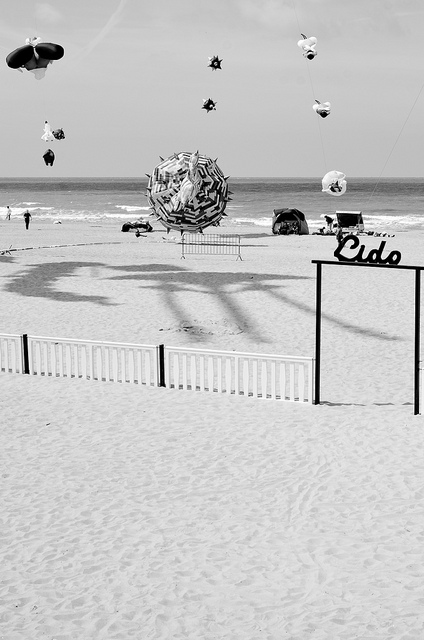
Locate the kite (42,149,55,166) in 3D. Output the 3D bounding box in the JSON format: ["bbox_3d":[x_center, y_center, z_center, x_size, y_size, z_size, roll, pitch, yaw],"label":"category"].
[{"bbox_3d":[-4.953,-4.978,24.551,0.229,0.457,0.917,-3,10,-13],"label":"kite"}]

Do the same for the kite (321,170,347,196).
[{"bbox_3d":[5.834,-6.587,38.626,1.048,1.041,1.778,1,9,6],"label":"kite"}]

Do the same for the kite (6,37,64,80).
[{"bbox_3d":[-3.190,-4.740,14.565,0.877,0.691,0.542,1,10,9],"label":"kite"}]

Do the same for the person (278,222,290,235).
[{"bbox_3d":[4.272,-5.597,48.744,0.513,0.647,0.893,-1,5,-2],"label":"person"}]

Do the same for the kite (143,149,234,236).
[{"bbox_3d":[-0.713,-3.187,20.093,1.704,1.974,1.608,4,11,27],"label":"kite"}]
